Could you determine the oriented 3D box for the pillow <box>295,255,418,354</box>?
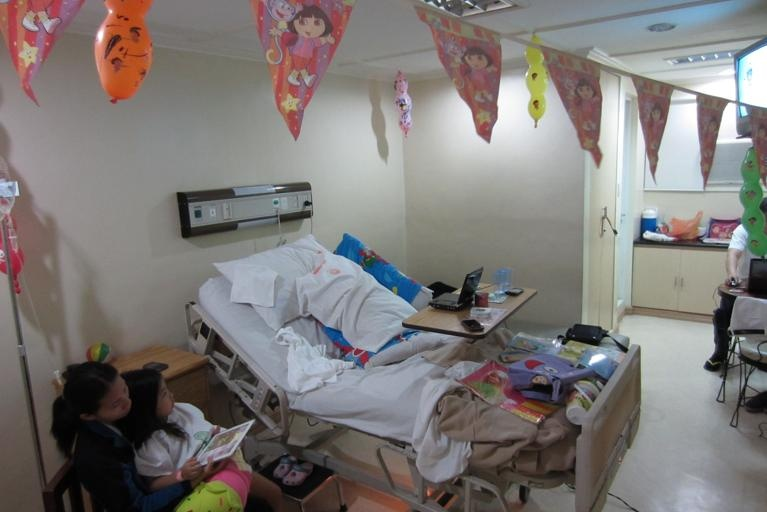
[{"bbox_3d":[-0.231,0.340,3.721,0.755,0.226,0.592,35,44,23],"label":"pillow"}]

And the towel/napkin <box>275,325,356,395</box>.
[{"bbox_3d":[-0.536,0.708,3.410,0.446,0.077,0.363,27,28,37],"label":"towel/napkin"}]

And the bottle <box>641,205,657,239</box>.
[{"bbox_3d":[3.147,-0.409,6.006,0.193,0.310,0.141,5,12,24],"label":"bottle"}]

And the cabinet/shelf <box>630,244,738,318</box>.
[{"bbox_3d":[3.439,0.271,5.785,0.389,0.828,1.018,-17,17,-42],"label":"cabinet/shelf"}]

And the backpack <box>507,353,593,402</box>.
[{"bbox_3d":[0.971,0.701,2.910,0.469,0.151,0.484,-2,5,-4],"label":"backpack"}]

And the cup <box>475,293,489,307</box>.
[{"bbox_3d":[0.677,0.292,3.485,0.094,0.086,0.089,-2,10,0],"label":"cup"}]

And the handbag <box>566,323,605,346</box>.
[{"bbox_3d":[1.363,0.526,3.458,0.170,0.048,0.167,-16,16,-39],"label":"handbag"}]

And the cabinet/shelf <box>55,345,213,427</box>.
[{"bbox_3d":[-1.597,0.687,3.372,0.732,0.664,0.473,-18,38,-32],"label":"cabinet/shelf"}]

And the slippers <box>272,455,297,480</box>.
[{"bbox_3d":[-0.619,1.304,3.159,0.076,0.053,0.145,3,29,28],"label":"slippers"}]

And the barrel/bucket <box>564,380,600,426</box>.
[{"bbox_3d":[1.108,0.799,2.826,0.143,0.158,0.225,4,33,30],"label":"barrel/bucket"}]

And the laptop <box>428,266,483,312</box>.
[{"bbox_3d":[0.517,0.225,3.610,0.338,0.245,0.414,7,11,37],"label":"laptop"}]
